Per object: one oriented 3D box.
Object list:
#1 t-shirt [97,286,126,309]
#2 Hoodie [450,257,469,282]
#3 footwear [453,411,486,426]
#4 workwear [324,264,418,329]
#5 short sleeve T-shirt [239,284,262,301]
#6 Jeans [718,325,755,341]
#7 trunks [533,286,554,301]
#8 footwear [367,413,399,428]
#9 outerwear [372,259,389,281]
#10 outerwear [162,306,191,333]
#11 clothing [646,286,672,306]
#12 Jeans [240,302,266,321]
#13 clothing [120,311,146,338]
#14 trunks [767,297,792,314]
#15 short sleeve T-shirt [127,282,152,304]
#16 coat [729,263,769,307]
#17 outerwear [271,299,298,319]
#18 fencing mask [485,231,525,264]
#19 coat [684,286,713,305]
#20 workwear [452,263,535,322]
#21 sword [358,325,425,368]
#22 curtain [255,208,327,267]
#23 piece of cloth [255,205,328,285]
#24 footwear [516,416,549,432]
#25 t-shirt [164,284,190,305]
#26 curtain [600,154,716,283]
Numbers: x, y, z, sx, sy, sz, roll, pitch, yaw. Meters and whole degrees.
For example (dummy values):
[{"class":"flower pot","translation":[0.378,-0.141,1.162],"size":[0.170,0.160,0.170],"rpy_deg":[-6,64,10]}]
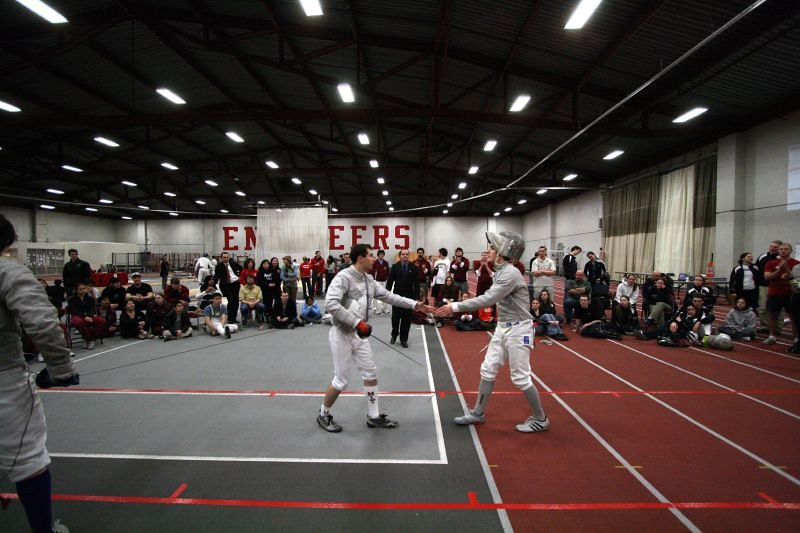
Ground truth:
[{"class":"t-shirt","translation":[-7.373,0.823,12.400],"size":[0.602,0.554,0.321],"rpy_deg":[1,-4,-24]},{"class":"Hoodie","translation":[1.695,0.106,13.901],"size":[0.681,0.893,0.633],"rpy_deg":[0,-9,3]},{"class":"footwear","translation":[1.145,2.513,8.002],"size":[0.584,0.242,0.207],"rpy_deg":[1,-7,0]},{"class":"workwear","translation":[-0.471,0.589,8.276],"size":[1.976,1.198,0.924],"rpy_deg":[5,10,-40]},{"class":"short sleeve T-shirt","translation":[-4.182,0.819,13.735],"size":[0.688,0.644,0.406],"rpy_deg":[1,-8,-10]},{"class":"Jeans","translation":[8.015,1.608,11.578],"size":[0.901,0.326,0.374],"rpy_deg":[0,0,-2]},{"class":"trunks","translation":[3.726,0.638,12.562],"size":[0.608,0.443,0.341],"rpy_deg":[-1,-25,15]},{"class":"footwear","translation":[-0.301,2.570,8.052],"size":[0.573,0.235,0.202],"rpy_deg":[1,-8,0]},{"class":"outerwear","translation":[-0.602,0.119,14.682],"size":[0.679,0.725,0.406],"rpy_deg":[2,-9,-19]},{"class":"outerwear","translation":[-5.691,1.357,12.477],"size":[0.602,0.713,0.704],"rpy_deg":[5,-1,42]},{"class":"clothing","translation":[6.428,0.758,12.176],"size":[0.719,0.654,0.403],"rpy_deg":[-2,-12,24]},{"class":"Jeans","translation":[-4.130,1.265,13.604],"size":[0.459,0.737,0.458],"rpy_deg":[-2,17,12]},{"class":"clothing","translation":[-6.733,1.508,12.103],"size":[0.757,0.745,0.519],"rpy_deg":[-4,-3,22]},{"class":"trunks","translation":[8.689,0.886,11.122],"size":[0.397,0.411,0.461],"rpy_deg":[0,0,29]},{"class":"short sleeve T-shirt","translation":[-6.873,0.666,12.566],"size":[0.593,0.662,0.674],"rpy_deg":[1,-13,-10]},{"class":"coat","translation":[9.090,0.685,12.623],"size":[0.769,1.666,0.434],"rpy_deg":[-5,3,29]},{"class":"outerwear","translation":[-3.211,1.246,13.705],"size":[0.849,0.792,0.488],"rpy_deg":[1,-10,-7]},{"class":"fencing mask","translation":[1.742,-0.347,8.137],"size":[0.612,0.455,0.460],"rpy_deg":[29,0,15]},{"class":"coat","translation":[7.290,0.719,11.831],"size":[0.482,0.358,0.240],"rpy_deg":[1,-6,-2]},{"class":"workwear","translation":[1.437,0.491,8.288],"size":[1.524,0.914,1.209],"rpy_deg":[-9,2,-13]},{"class":"sword","translation":[-0.288,1.903,11.295],"size":[0.398,0.318,2.722],"rpy_deg":[-35,31,-32]},{"class":"curtain","translation":[-5.038,-1.474,22.781],"size":[3.295,2.662,0.397],"rpy_deg":[0,0,0]},{"class":"piece of cloth","translation":[-4.676,-1.028,21.101],"size":[4.001,3.256,0.479],"rpy_deg":[-1,1,3]},{"class":"footwear","translation":[2.150,2.599,7.960],"size":[0.610,0.251,0.220],"rpy_deg":[1,-7,1]},{"class":"t-shirt","translation":[-5.817,0.750,12.755],"size":[0.571,0.558,0.473],"rpy_deg":[-5,-1,13]},{"class":"curtain","translation":[10.536,-1.642,19.911],"size":[0.430,4.150,6.148],"rpy_deg":[0,0,-16]}]
